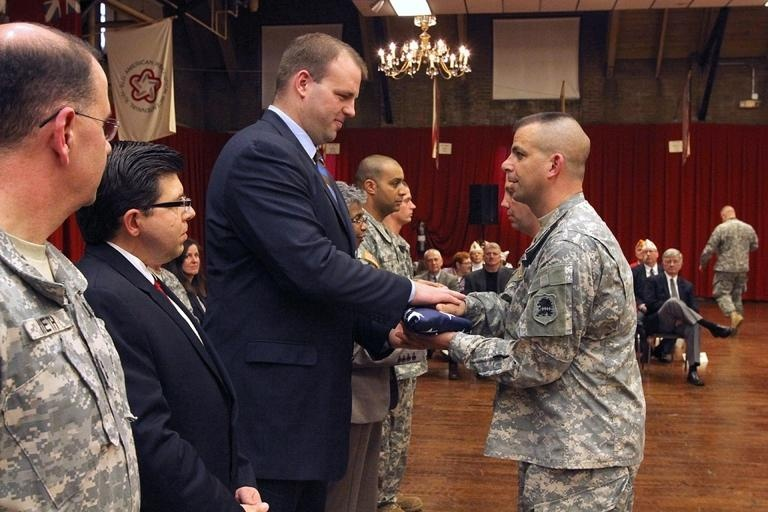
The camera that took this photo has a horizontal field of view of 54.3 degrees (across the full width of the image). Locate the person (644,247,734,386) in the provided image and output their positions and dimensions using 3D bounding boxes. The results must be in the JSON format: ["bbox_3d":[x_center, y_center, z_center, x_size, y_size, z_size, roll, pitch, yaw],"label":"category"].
[{"bbox_3d":[3.030,0.569,7.648,0.763,1.184,1.244,2,5,23],"label":"person"}]

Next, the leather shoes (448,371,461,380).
[{"bbox_3d":[0.699,1.174,7.414,0.110,0.060,0.106,-2,1,-4],"label":"leather shoes"}]

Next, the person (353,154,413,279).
[{"bbox_3d":[-0.061,-0.265,4.340,0.344,0.623,0.783,2,7,6],"label":"person"}]

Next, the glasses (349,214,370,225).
[{"bbox_3d":[-0.128,-0.186,3.885,0.087,0.026,0.085,-1,2,15],"label":"glasses"}]

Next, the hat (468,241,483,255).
[{"bbox_3d":[1.143,-0.098,9.324,0.148,0.144,0.237,0,-7,3],"label":"hat"}]
